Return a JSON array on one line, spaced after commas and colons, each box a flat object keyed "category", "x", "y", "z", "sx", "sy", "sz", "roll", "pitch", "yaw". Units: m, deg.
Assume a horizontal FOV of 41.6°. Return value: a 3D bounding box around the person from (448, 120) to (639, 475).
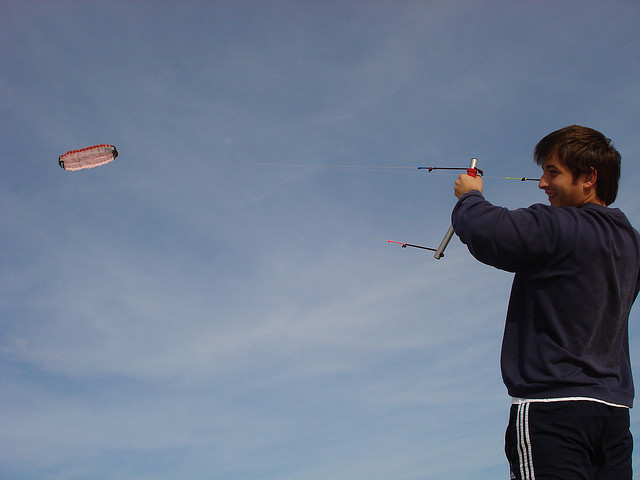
[{"category": "person", "x": 1.323, "y": 0.317, "z": 4.783, "sx": 1.014, "sy": 1.883, "sz": 0.963, "roll": -6, "pitch": -37, "yaw": 8}]
